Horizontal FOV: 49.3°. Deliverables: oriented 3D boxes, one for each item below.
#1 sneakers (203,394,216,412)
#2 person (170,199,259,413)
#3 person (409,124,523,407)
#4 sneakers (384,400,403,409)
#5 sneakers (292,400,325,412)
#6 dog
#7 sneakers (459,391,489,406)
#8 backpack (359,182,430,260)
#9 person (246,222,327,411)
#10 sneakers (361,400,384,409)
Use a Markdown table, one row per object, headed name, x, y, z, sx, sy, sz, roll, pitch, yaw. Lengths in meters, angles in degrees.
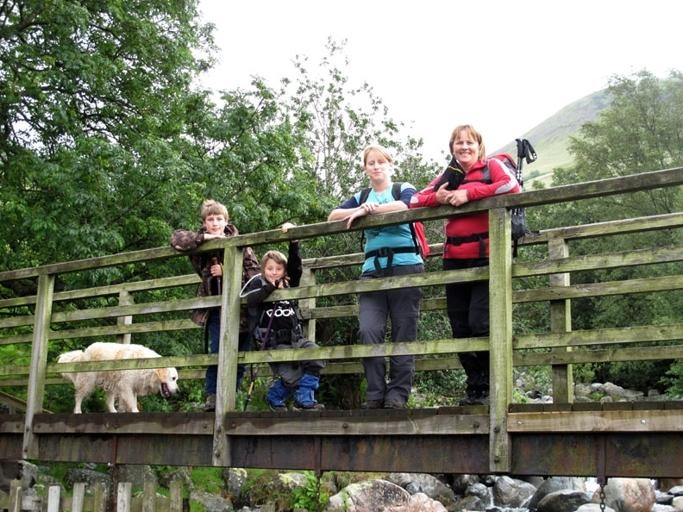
| name | x | y | z | sx | sy | sz | roll | pitch | yaw |
| --- | --- | --- | --- | --- | --- | --- | --- | --- | --- |
| sneakers | -1.334 | 1.482 | 7.361 | 0.074 | 0.167 | 0.227 | 8 | -22 | -13 |
| person | -1.284 | 0.453 | 7.578 | 0.844 | 2.207 | 0.707 | -5 | -13 | 15 |
| person | 1.141 | 0.038 | 6.555 | 0.931 | 2.483 | 0.744 | -13 | -17 | 43 |
| sneakers | 0.473 | 1.321 | 6.588 | 0.144 | 0.077 | 0.060 | 9 | -7 | 4 |
| sneakers | -0.318 | 1.454 | 7.123 | 0.352 | 0.175 | 0.125 | -2 | -9 | 2 |
| dog | -3.359 | 1.843 | 10.934 | 1.799 | 1.099 | 0.579 | 3 | -8 | 6 |
| sneakers | 1.155 | 1.250 | 6.585 | 0.297 | 0.137 | 0.110 | -2 | -3 | 41 |
| backpack | 0.485 | -0.323 | 6.884 | 0.473 | 0.876 | 0.610 | -21 | 13 | -41 |
| person | -0.584 | 0.644 | 7.390 | 0.788 | 1.754 | 0.873 | -1 | -12 | -3 |
| sneakers | 0.281 | 1.337 | 6.688 | 0.221 | 0.102 | 0.079 | 0 | -10 | 3 |
